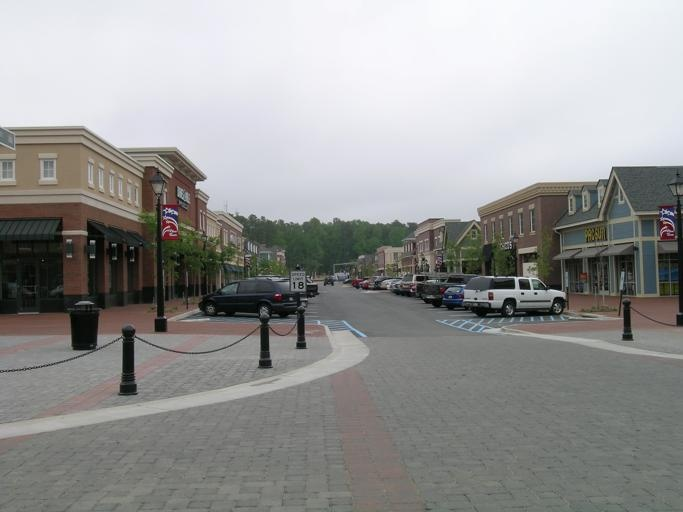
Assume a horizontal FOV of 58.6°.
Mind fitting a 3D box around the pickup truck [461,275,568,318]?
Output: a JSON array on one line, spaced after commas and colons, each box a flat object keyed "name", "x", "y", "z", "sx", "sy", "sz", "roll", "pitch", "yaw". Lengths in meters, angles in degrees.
[{"name": "pickup truck", "x": 8.248, "y": 1.869, "z": 28.630, "sx": 4.619, "sy": 1.864, "sz": 1.765, "roll": -2, "pitch": -4, "yaw": -15}]

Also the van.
[{"name": "van", "x": -4.180, "y": 1.768, "z": 28.400, "sx": 4.202, "sy": 1.531, "sz": 2.033, "roll": 1, "pitch": -2, "yaw": 20}]

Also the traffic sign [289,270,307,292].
[{"name": "traffic sign", "x": -1.423, "y": 0.745, "z": 19.437, "sx": 0.481, "sy": 0.677, "sz": 0.958, "roll": -2, "pitch": -4, "yaw": -5}]

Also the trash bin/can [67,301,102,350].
[{"name": "trash bin/can", "x": -6.817, "y": 1.809, "z": 16.008, "sx": 0.687, "sy": 1.271, "sz": 0.628, "roll": -1, "pitch": -4, "yaw": -25}]
